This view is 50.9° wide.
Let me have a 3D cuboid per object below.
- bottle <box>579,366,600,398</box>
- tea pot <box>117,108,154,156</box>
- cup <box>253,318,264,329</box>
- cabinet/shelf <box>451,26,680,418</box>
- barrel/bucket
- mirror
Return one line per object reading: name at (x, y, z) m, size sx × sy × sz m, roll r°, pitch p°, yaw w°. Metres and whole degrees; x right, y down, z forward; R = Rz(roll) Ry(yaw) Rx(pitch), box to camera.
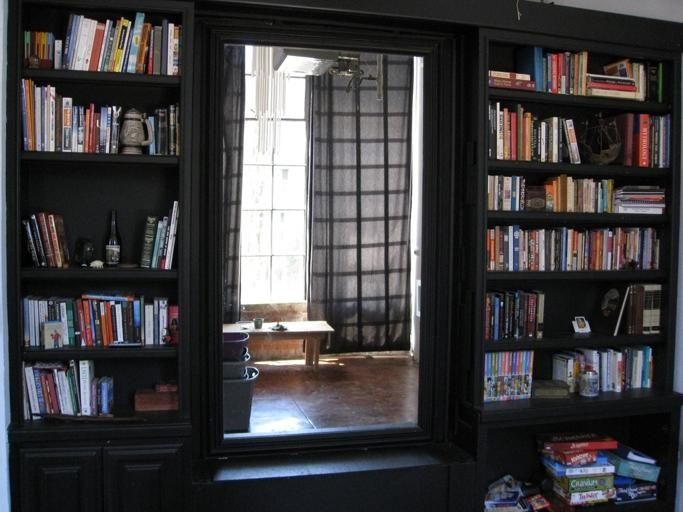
bottle at (1.541, 0.781, 4.484) m, size 0.109 × 0.164 × 0.108 m, roll -1°, pitch 4°, yaw 0°
tea pot at (-1.142, -0.698, 3.995) m, size 0.168 × 0.248 × 0.125 m, roll 9°, pitch 22°, yaw -1°
cup at (-0.746, 0.603, 6.407) m, size 0.082 × 0.070 × 0.072 m, roll -2°, pitch 9°, yaw 1°
cabinet/shelf at (1.433, -0.215, 4.431) m, size 1.452 × 2.346 × 0.562 m, roll 3°, pitch 7°, yaw -14°
barrel/bucket at (-0.734, 0.873, 5.141) m, size 0.243 × 0.637 × 0.874 m, roll 4°, pitch 8°, yaw -8°
mirror at (-0.007, -0.307, 5.745) m, size 2.011 × 3.018 × 3.284 m, roll 4°, pitch 8°, yaw -7°
